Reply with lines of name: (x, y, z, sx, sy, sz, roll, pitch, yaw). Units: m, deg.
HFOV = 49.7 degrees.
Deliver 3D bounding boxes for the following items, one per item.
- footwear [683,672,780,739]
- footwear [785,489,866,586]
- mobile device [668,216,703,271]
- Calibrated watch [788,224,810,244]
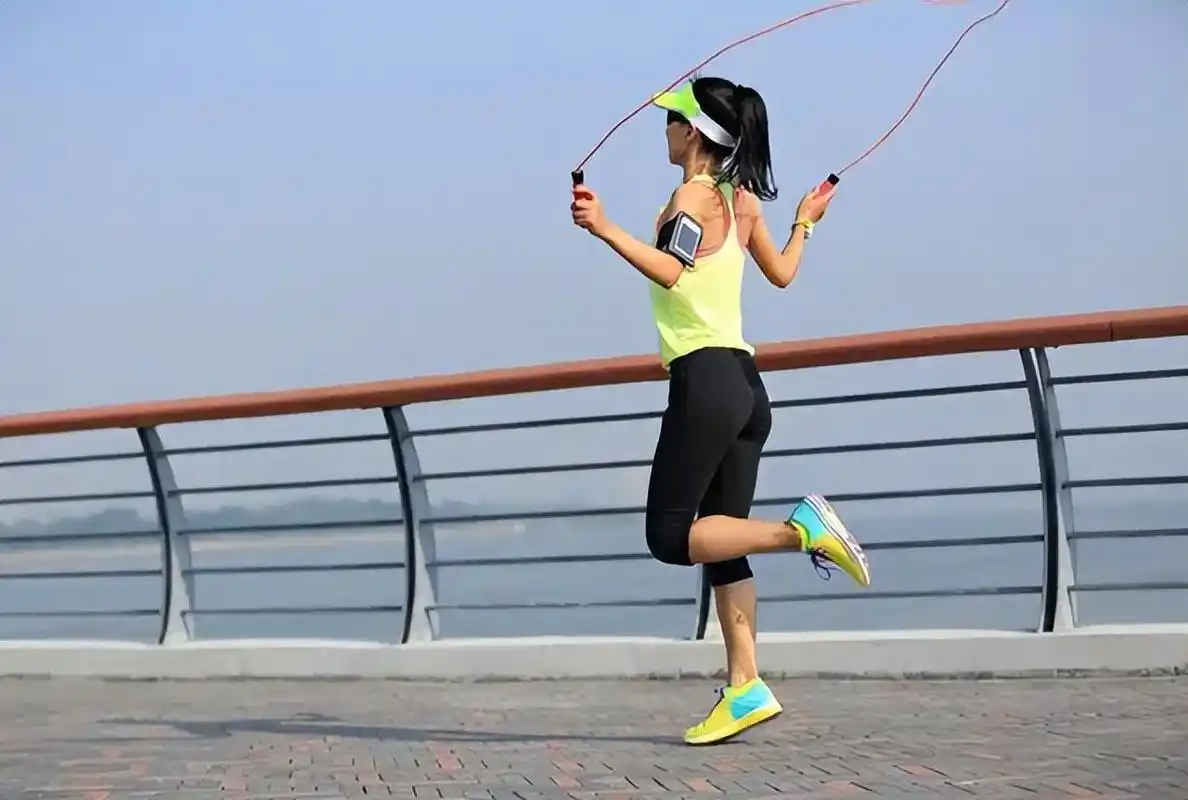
footwear: (0.514, 1.181, 5.010, 0.416, 0.186, 0.146, -28, -18, 19)
footwear: (0.904, 0.533, 5.117, 0.273, 0.384, 0.424, -4, 2, 9)
mobile device: (0.346, -0.582, 4.851, 0.041, 0.173, 0.176, -14, -38, 44)
Calibrated watch: (0.830, -0.667, 5.251, 0.062, 0.080, 0.092, -29, 24, -31)
